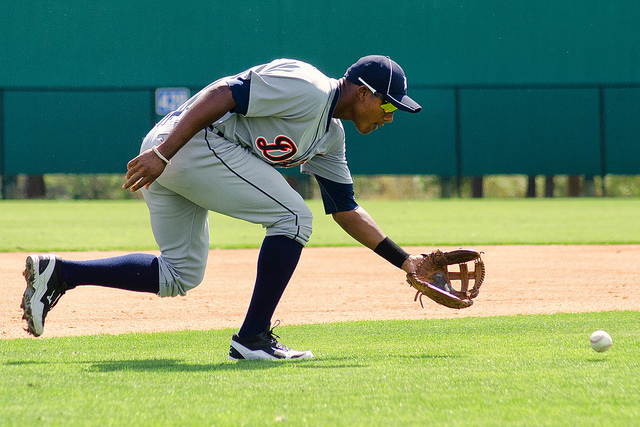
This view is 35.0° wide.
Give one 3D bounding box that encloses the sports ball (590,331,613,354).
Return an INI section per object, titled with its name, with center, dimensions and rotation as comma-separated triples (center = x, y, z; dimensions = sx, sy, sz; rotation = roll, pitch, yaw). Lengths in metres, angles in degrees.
[sports ball]
center = 2.839, 1.280, 10.203
dimensions = 0.247, 0.200, 0.137
rotation = 2, 2, -4
